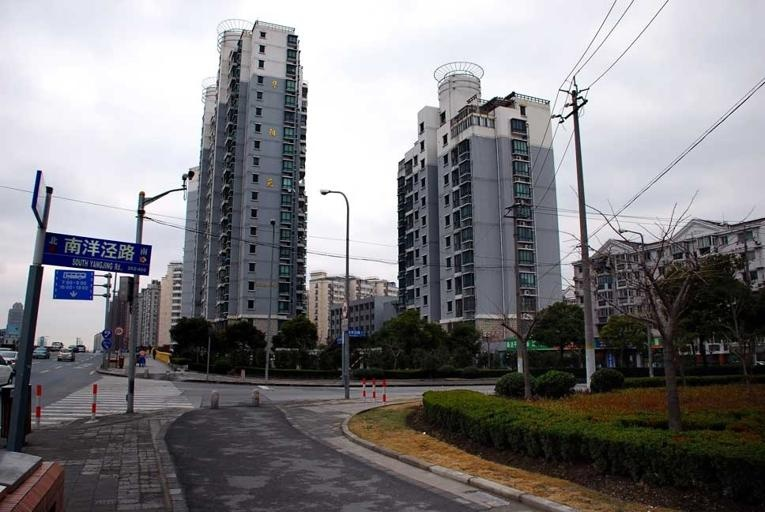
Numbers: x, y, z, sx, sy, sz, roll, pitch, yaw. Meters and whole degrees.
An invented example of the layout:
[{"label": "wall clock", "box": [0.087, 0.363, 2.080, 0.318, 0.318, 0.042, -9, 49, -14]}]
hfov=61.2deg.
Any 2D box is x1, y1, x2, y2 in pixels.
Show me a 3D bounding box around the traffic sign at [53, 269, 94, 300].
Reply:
[{"label": "traffic sign", "box": [-20.336, 1.988, 42.820, 2.268, 1.826, 0.304, 1, -23, -8]}]
